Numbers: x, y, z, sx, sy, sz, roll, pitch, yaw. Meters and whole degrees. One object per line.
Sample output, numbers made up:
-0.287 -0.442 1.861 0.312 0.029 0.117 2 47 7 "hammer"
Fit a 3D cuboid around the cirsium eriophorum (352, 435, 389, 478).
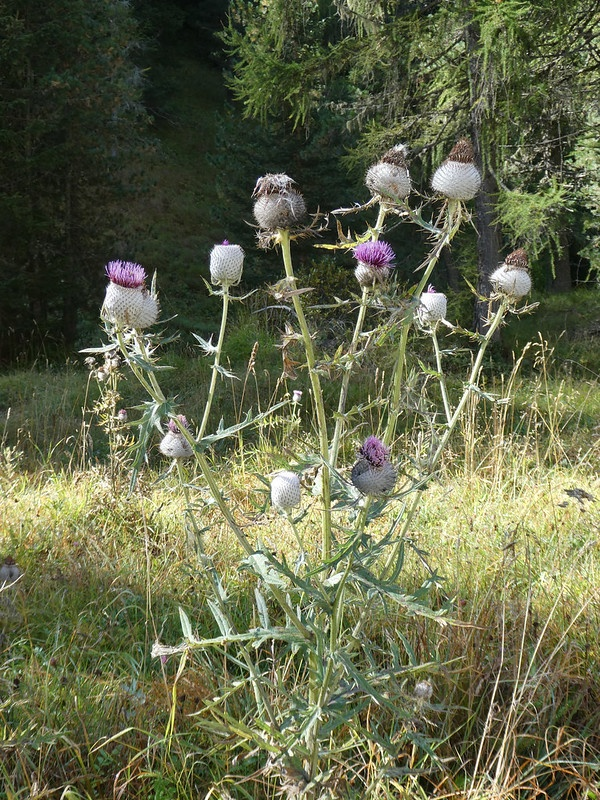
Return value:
0.168 0.122 1.826 0.071 0.074 0.127 4 14 22 "cirsium eriophorum"
